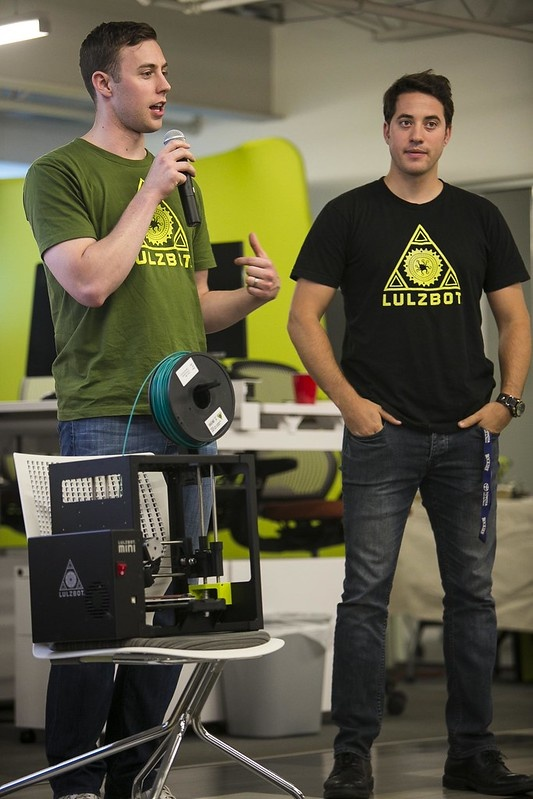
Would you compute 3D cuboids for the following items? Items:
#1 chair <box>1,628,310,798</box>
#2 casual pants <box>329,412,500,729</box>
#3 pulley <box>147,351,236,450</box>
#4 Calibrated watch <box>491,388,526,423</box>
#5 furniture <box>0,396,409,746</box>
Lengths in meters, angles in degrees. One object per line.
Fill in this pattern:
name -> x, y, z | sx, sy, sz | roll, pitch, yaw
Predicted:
chair -> -0.199, 0.501, 1.382 | 0.454, 0.312, 0.397 | -12, -16, 37
casual pants -> 0.348, 0.411, 1.898 | 0.424, 0.714, 0.274 | -3, 9, 1
pulley -> -0.137, 0.002, 1.425 | 0.195, 0.170, 0.105 | 9, -16, -43
Calibrated watch -> 0.590, 0.008, 2.003 | 0.084, 0.054, 0.086 | 1, -35, 43
furniture -> -0.297, 0.421, 3.470 | 1.958, 1.514, 1.191 | 1, 3, -10
